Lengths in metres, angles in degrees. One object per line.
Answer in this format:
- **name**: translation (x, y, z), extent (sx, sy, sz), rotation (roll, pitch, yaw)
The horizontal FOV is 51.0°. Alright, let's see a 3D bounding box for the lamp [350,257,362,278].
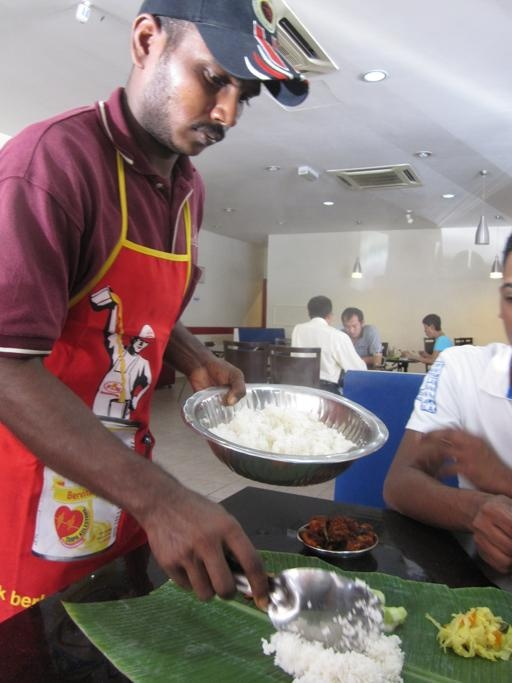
- **lamp**: translation (1.596, -1.156, 8.464), extent (0.176, 0.306, 0.725), rotation (4, 3, 10)
